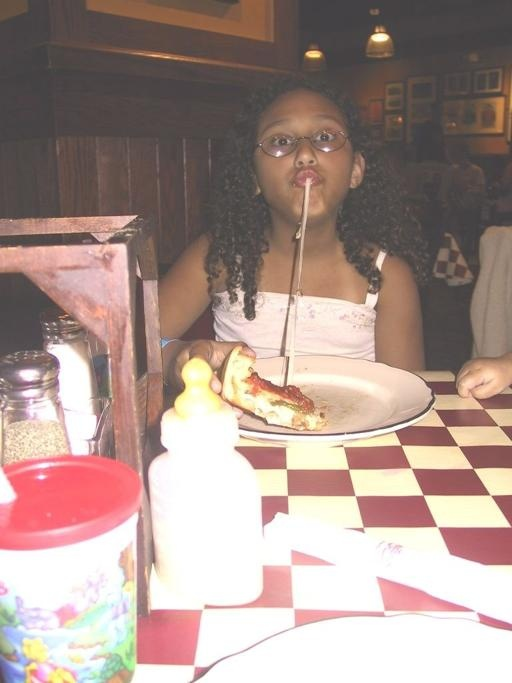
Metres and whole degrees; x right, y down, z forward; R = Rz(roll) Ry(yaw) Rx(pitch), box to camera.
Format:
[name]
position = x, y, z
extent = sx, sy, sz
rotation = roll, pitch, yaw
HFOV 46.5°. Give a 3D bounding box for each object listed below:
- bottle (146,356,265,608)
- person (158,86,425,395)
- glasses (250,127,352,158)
[bottle]
position = -0.048, 0.141, 0.567
extent = 0.107, 0.250, 0.064
rotation = -2, 14, -6
[person]
position = 0.173, -0.318, 2.001
extent = 0.795, 1.025, 0.358
rotation = 3, -7, -13
[glasses]
position = 0.138, -0.593, 1.798
extent = 0.266, 0.082, 0.110
rotation = 0, 14, 1
